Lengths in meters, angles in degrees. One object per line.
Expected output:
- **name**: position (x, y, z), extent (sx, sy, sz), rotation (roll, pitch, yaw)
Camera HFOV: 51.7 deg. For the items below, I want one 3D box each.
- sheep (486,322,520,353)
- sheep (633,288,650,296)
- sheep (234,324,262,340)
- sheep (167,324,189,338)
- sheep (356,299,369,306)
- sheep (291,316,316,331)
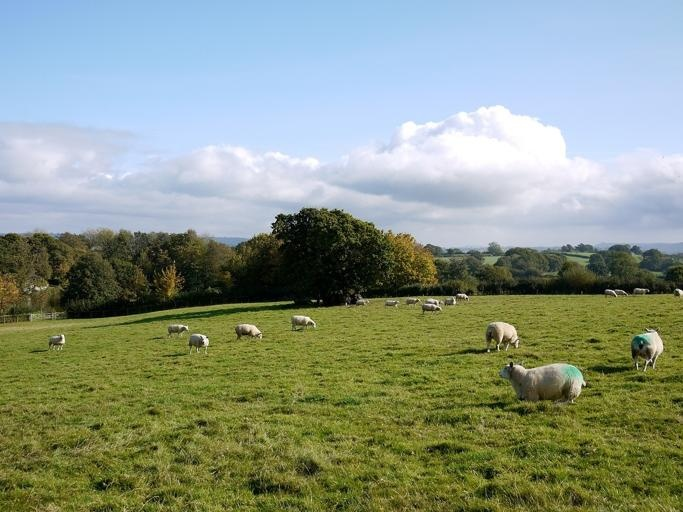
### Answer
- **sheep**: position (7.990, 3.994, 35.066), extent (1.941, 1.392, 0.820), rotation (-9, 14, -25)
- **sheep**: position (30.152, 3.603, 70.968), extent (1.777, 0.891, 0.462), rotation (0, 4, -10)
- **sheep**: position (-5.430, 4.510, 41.949), extent (1.495, 1.001, 1.443), rotation (-2, 13, 1)
- **sheep**: position (-10.591, 4.818, 45.751), extent (1.251, 0.907, 1.815), rotation (-6, 13, -16)
- **sheep**: position (1.946, 4.221, 63.756), extent (1.157, 0.651, 0.418), rotation (-3, 40, 2)
- **sheep**: position (-2.456, 4.320, 45.533), extent (1.511, 0.972, 2.071), rotation (-4, 13, -5)
